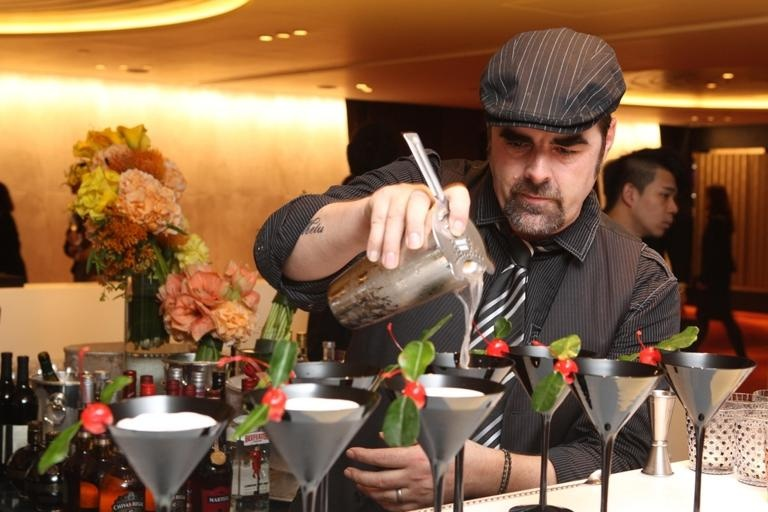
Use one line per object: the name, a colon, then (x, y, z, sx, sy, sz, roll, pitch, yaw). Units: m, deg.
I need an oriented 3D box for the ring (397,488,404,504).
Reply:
ring: (0.040, 0.589, 1.604, 0.017, 0.036, 0.005, 0, 5, 19)

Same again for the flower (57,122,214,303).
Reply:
flower: (-0.807, -0.141, 2.049, 0.371, 0.454, 0.398, 8, 5, -33)

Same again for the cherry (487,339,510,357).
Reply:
cherry: (0.228, 0.178, 1.284, 0.044, 0.032, 0.092, 0, 5, 14)

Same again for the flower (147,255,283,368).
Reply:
flower: (-0.541, 0.185, 1.974, 0.281, 0.273, 0.271, 15, 20, 10)

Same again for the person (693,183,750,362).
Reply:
person: (2.296, 0.080, 4.348, 0.307, 1.124, 0.202, 1, 5, 22)

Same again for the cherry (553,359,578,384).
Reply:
cherry: (0.331, 0.205, 1.163, 0.037, 0.036, 0.029, 41, 42, 13)

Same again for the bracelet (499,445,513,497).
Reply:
bracelet: (0.308, 0.541, 1.644, 0.019, 0.080, 0.063, 12, 11, -3)

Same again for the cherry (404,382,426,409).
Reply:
cherry: (0.051, 0.220, 1.034, 0.039, 0.049, 0.026, -2, 5, -11)

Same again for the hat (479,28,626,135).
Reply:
hat: (0.460, -0.476, 1.737, 0.386, 0.297, 0.180, 0, 5, 10)

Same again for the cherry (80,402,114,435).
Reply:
cherry: (-0.430, 0.238, 0.967, 0.046, 0.047, 0.045, -2, 5, -7)

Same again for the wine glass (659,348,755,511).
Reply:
wine glass: (0.671, 0.362, 1.321, 0.150, 0.348, 0.208, 3, 6, 41)
